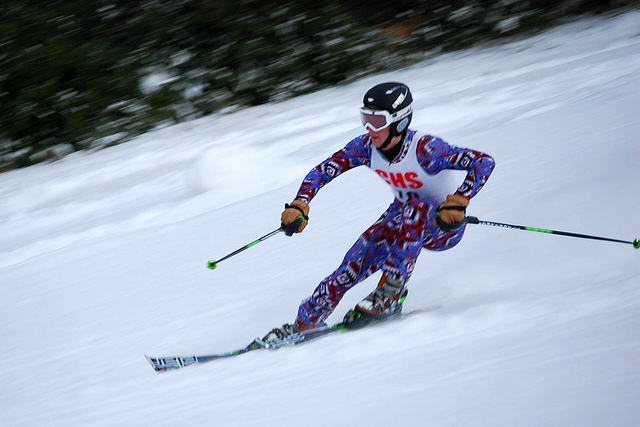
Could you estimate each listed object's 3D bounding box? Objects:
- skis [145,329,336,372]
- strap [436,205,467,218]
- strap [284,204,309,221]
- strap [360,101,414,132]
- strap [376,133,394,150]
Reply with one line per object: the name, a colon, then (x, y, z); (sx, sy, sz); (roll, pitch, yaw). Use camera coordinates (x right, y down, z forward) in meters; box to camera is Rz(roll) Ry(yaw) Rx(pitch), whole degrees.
skis: (-0.650, 1.231, 7.121); (1.679, 0.107, 0.194); (-7, 39, -6)
strap: (1.115, -0.023, 6.744); (0.174, 0.053, 0.105); (-4, 43, 3)
strap: (-0.206, -0.016, 7.063); (0.190, 0.053, 0.126); (12, -10, 4)
strap: (0.594, -0.858, 6.948); (0.348, 0.120, 0.246); (-27, 26, -28)
strap: (0.581, -0.628, 6.994); (0.135, 0.055, 0.101); (-46, 6, 5)
